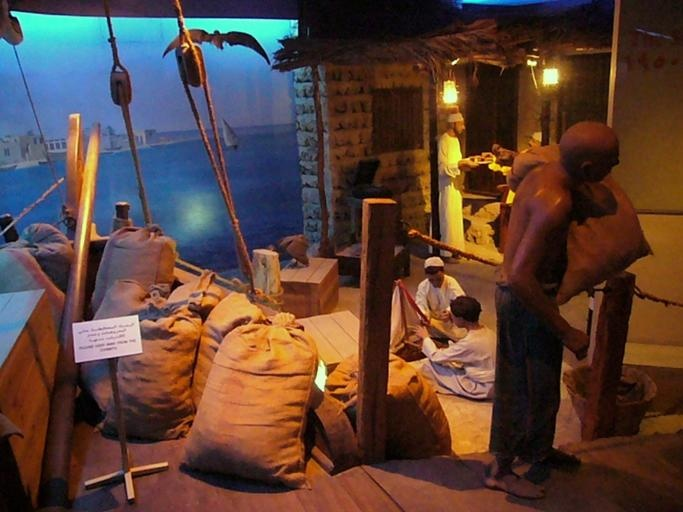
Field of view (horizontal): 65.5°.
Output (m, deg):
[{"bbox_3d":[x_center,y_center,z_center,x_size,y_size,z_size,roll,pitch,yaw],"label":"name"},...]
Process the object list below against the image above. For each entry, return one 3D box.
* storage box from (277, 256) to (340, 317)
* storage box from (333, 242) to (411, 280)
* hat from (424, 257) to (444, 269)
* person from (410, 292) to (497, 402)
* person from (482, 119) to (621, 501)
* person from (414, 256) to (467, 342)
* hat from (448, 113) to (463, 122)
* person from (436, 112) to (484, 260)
[{"bbox_3d":[-0.446,0.157,7.403,0.621,0.756,1.165,4,14,15],"label":"storage box"},{"bbox_3d":[0.457,0.077,8.361,0.724,0.325,0.681,7,21,25],"label":"storage box"},{"bbox_3d":[1.128,0.059,6.482,0.202,0.124,0.273,-4,12,4],"label":"hat"},{"bbox_3d":[1.247,0.982,5.685,0.953,1.260,0.697,11,23,36],"label":"person"},{"bbox_3d":[1.228,0.364,3.240,0.735,2.280,0.440,-2,14,9],"label":"person"},{"bbox_3d":[1.188,0.552,6.553,0.626,1.044,0.676,-10,28,6],"label":"person"},{"bbox_3d":[1.880,-2.293,8.732,0.206,0.172,0.230,-3,13,6],"label":"hat"},{"bbox_3d":[1.920,-1.238,8.916,0.579,2.333,0.696,-1,14,16],"label":"person"}]
